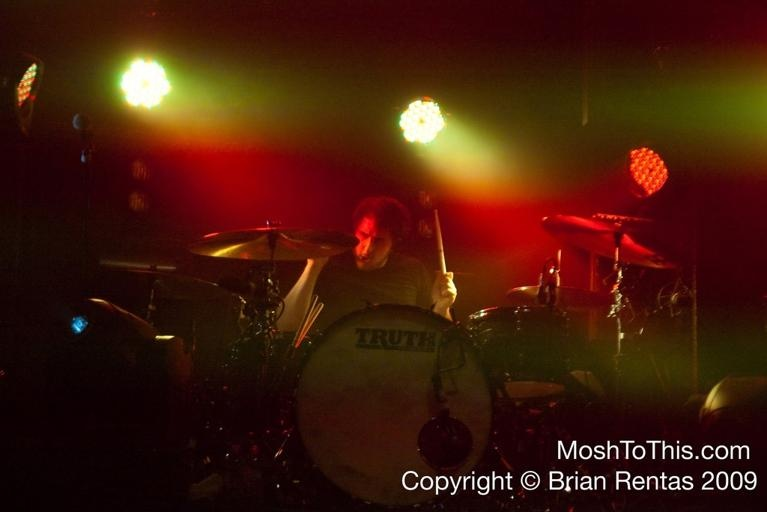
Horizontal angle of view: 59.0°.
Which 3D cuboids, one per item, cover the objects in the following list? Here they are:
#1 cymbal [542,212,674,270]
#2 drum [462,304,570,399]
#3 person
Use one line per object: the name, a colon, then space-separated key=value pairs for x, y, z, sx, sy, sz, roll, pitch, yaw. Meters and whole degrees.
cymbal: x=1.690 y=-0.119 z=5.243 sx=0.590 sy=0.117 sz=0.683 roll=20 pitch=-10 yaw=-17
drum: x=0.941 y=0.633 z=4.658 sx=0.580 sy=0.473 sz=0.686 roll=-20 pitch=-29 yaw=31
person: x=-0.204 y=0.103 z=5.392 sx=0.942 sy=1.218 sz=0.651 roll=6 pitch=-35 yaw=7
